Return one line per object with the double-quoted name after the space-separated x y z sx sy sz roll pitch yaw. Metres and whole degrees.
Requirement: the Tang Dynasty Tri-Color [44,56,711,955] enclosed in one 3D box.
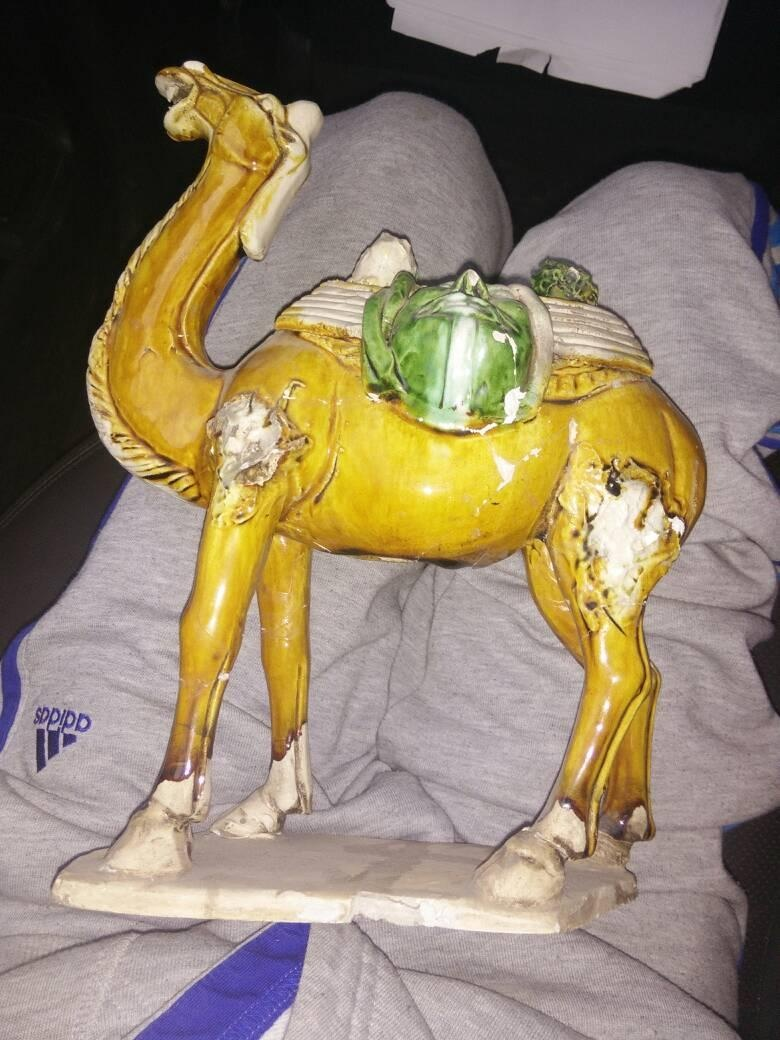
-0.012 0.022 0.913 0.537 0.446 0.603 12 60 7 "Tang Dynasty Tri-Color"
